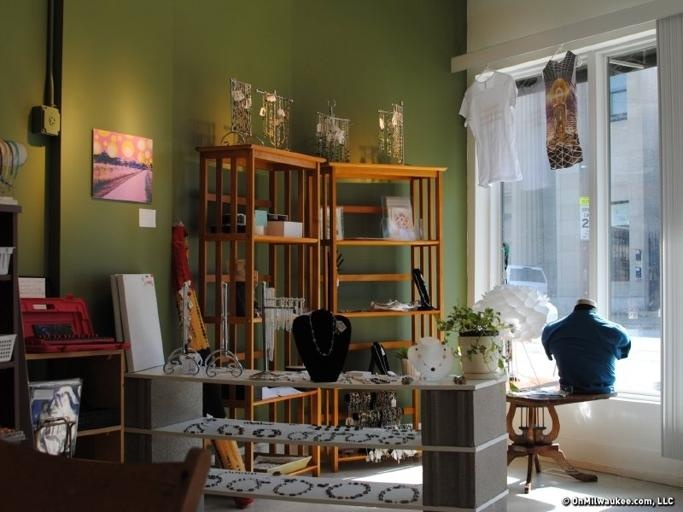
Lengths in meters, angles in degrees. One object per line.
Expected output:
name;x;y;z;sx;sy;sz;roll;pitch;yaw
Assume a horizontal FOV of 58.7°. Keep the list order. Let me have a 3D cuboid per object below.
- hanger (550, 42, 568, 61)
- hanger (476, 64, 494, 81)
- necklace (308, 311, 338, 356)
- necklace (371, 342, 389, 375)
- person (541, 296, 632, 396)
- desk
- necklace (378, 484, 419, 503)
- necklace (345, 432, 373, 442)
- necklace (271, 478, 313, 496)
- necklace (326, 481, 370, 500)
hanger;2.137;-1.990;5.982;0.140;0.121;0.212;-3;-4;14
hanger;1.522;-1.932;6.398;0.233;0.228;0.085;-9;8;-36
necklace;-0.115;0.487;3.820;0.181;0.286;0.071;-2;-3;-4
necklace;0.362;0.934;5.606;0.106;0.362;0.137;-2;-31;-16
person;2.122;0.778;5.183;0.731;0.876;0.436;-3;-19;14
desk;1.750;1.457;5.204;0.875;0.688;0.875;-1;1;-31
necklace;0.363;1.478;3.768;0.264;0.036;0.275;-2;-4;4
necklace;0.111;1.157;3.860;0.148;0.027;0.220;-4;-4;24
necklace;-0.300;1.476;3.876;0.238;0.034;0.261;-3;-4;10
necklace;0.055;1.470;3.805;0.242;0.031;0.309;-5;-5;43
